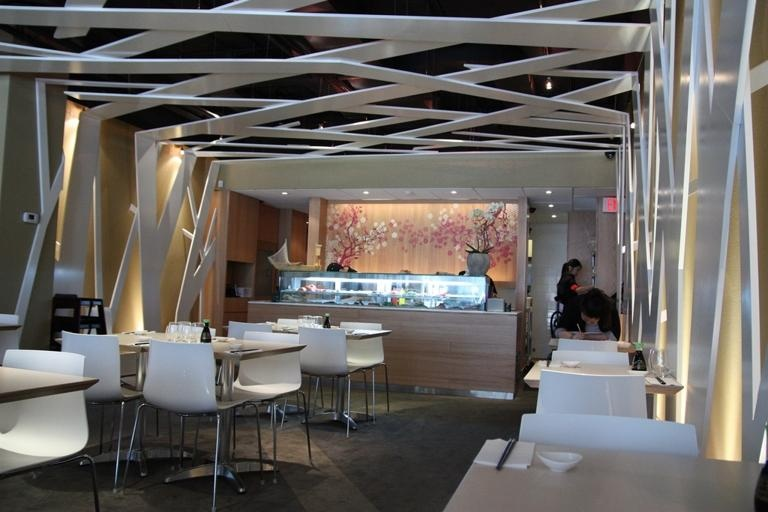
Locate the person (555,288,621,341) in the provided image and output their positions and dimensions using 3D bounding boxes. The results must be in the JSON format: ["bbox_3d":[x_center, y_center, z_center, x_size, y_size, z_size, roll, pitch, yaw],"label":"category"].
[{"bbox_3d":[2.237,0.653,6.132,0.464,0.505,0.984,6,-20,27],"label":"person"}]

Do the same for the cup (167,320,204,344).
[{"bbox_3d":[-1.663,0.632,4.625,0.210,0.149,0.194,-1,-6,0],"label":"cup"}]

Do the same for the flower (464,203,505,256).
[{"bbox_3d":[1.560,-0.480,9.042,0.707,0.874,2.106,3,1,15],"label":"flower"}]

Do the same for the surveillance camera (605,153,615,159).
[{"bbox_3d":[3.422,-1.511,8.490,0.117,0.073,0.084,3,1,29],"label":"surveillance camera"}]

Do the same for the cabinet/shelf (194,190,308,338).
[{"bbox_3d":[-2.325,0.122,9.425,0.793,2.292,2.485,-1,-5,23],"label":"cabinet/shelf"}]

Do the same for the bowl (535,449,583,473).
[{"bbox_3d":[0.772,0.904,2.475,0.117,0.041,0.107,1,-4,0],"label":"bowl"}]

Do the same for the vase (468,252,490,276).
[{"bbox_3d":[1.333,0.142,8.078,0.328,0.339,0.326,3,-8,-10],"label":"vase"}]
